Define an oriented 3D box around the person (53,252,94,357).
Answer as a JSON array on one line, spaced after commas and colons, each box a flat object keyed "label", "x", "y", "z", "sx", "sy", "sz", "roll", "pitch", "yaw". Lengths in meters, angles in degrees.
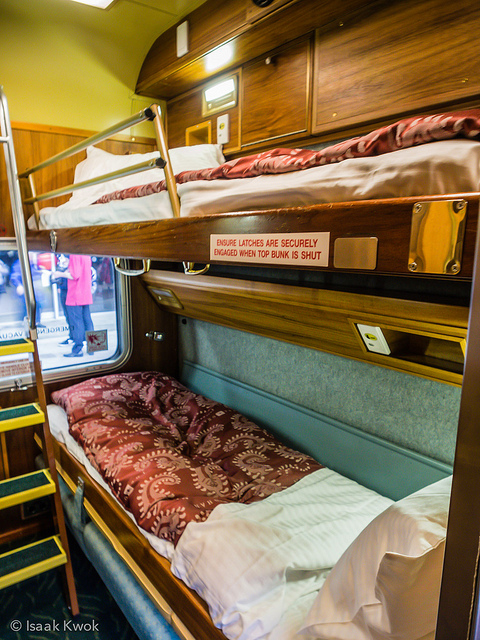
[{"label": "person", "x": -1.277, "y": -0.083, "z": 3.354, "sx": 0.289, "sy": 0.808, "sz": 0.549, "roll": 2, "pitch": 5, "yaw": -19}]
